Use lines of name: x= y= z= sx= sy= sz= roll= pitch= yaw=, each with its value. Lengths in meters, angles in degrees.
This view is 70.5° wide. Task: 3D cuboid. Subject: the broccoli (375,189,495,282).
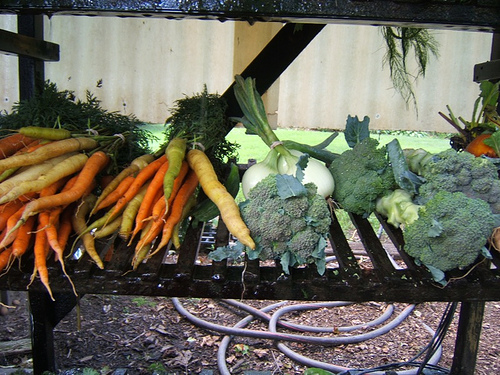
broccoli: x=0.685 y=0.155 z=1.325 sx=0.279 sy=0.162 sz=0.350 roll=-39 pitch=43 yaw=-1

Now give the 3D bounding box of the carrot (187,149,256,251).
carrot: x=-0.219 y=-0.012 z=1.464 sx=0.126 sy=0.093 sz=0.713 roll=3 pitch=31 yaw=-35

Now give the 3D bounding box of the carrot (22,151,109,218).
carrot: x=-0.702 y=-0.026 z=1.413 sx=0.098 sy=0.068 sz=0.423 roll=-13 pitch=22 yaw=27

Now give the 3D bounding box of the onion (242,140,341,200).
onion: x=0.123 y=-0.114 z=1.546 sx=0.353 sy=0.180 sz=0.327 roll=-19 pitch=17 yaw=36

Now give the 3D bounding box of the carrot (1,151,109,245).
carrot: x=-0.702 y=0.008 z=1.378 sx=0.111 sy=0.076 sz=0.557 roll=-6 pitch=25 yaw=29

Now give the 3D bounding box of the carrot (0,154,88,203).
carrot: x=-0.786 y=-0.041 z=1.410 sx=0.381 sy=0.067 sz=0.067 roll=-32 pitch=-2 yaw=-46

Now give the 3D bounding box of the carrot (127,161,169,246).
carrot: x=-0.385 y=0.044 z=1.434 sx=0.064 sy=0.053 sz=0.428 roll=-2 pitch=48 yaw=30

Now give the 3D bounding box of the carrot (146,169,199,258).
carrot: x=-0.313 y=0.102 z=1.400 sx=0.074 sy=0.090 sz=0.484 roll=-17 pitch=36 yaw=36

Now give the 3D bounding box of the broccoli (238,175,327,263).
broccoli: x=0.117 y=0.110 z=1.263 sx=0.315 sy=0.308 sz=0.148 roll=1 pitch=9 yaw=0

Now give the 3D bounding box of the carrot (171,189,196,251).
carrot: x=-0.271 y=0.138 z=1.427 sx=0.034 sy=0.033 sz=0.202 roll=-17 pitch=40 yaw=33

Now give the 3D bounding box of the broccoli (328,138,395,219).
broccoli: x=0.453 y=-0.038 z=1.454 sx=0.265 sy=0.322 sz=0.110 roll=4 pitch=10 yaw=17

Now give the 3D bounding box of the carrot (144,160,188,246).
carrot: x=-0.314 y=0.028 z=1.461 sx=0.059 sy=0.448 sz=0.051 roll=14 pitch=-26 yaw=10

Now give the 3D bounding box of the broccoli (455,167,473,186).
broccoli: x=0.771 y=-0.038 z=1.272 sx=0.059 sy=0.052 sz=0.027 roll=-3 pitch=9 yaw=5

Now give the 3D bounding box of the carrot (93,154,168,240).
carrot: x=-0.445 y=-0.002 z=1.496 sx=0.091 sy=0.081 sz=0.555 roll=8 pitch=46 yaw=48

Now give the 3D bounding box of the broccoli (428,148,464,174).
broccoli: x=0.714 y=-0.100 z=1.320 sx=0.092 sy=0.048 sz=0.104 roll=-33 pitch=26 yaw=-21

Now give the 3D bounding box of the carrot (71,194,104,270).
carrot: x=-0.631 y=0.174 z=1.373 sx=0.123 sy=0.071 sz=0.528 roll=25 pitch=5 yaw=-33

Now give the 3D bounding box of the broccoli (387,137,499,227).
broccoli: x=0.761 y=-0.025 z=1.422 sx=0.385 sy=0.281 sz=0.168 roll=49 pitch=3 yaw=36

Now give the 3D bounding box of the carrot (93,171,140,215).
carrot: x=-0.550 y=0.024 z=1.468 sx=0.252 sy=0.047 sz=0.045 roll=-41 pitch=-12 yaw=-20

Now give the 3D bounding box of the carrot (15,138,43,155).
carrot: x=-0.932 y=-0.172 z=1.488 sx=0.130 sy=0.029 sz=0.026 roll=-31 pitch=40 yaw=-4

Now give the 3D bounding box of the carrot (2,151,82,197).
carrot: x=-0.783 y=-0.079 z=1.432 sx=0.387 sy=0.048 sz=0.058 roll=-33 pitch=25 yaw=-28

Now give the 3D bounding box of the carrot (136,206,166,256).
carrot: x=-0.357 y=0.152 z=1.320 sx=0.039 sy=0.238 sz=0.037 roll=37 pitch=-22 yaw=7
